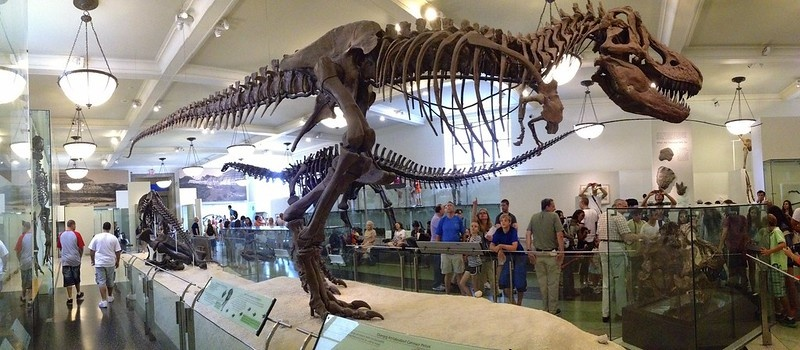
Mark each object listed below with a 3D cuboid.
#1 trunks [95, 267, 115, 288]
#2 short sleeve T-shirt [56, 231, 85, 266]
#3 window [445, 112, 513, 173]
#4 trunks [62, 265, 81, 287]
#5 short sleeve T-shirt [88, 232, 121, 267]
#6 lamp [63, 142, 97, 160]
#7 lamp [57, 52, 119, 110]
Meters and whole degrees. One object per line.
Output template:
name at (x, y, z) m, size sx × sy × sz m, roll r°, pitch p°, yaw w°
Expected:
trunks at (-8.721, 3.041, 13.310) m, size 0.439 × 0.650 × 0.380 m, roll 1°, pitch -6°, yaw -25°
short sleeve T-shirt at (-9.658, 2.167, 13.229) m, size 0.529 × 1.060 × 0.391 m, roll 2°, pitch -7°, yaw -32°
window at (2.561, -1.052, 14.203) m, size 3.465 × 1.924 × 0.113 m, roll 2°, pitch 9°, yaw 21°
trunks at (-9.717, 3.009, 13.334) m, size 0.283 × 0.619 × 0.436 m, roll -7°, pitch -7°, yaw 43°
short sleeve T-shirt at (-8.716, 2.209, 13.296) m, size 0.741 × 1.029 × 0.315 m, roll -1°, pitch -6°, yaw -10°
lamp at (-11.587, -0.917, 16.310) m, size 1.036 × 0.382 × 0.931 m, roll -4°, pitch -7°, yaw 18°
lamp at (-8.213, -2.314, 11.835) m, size 1.349 × 0.900 × 1.296 m, roll -14°, pitch -9°, yaw 32°
